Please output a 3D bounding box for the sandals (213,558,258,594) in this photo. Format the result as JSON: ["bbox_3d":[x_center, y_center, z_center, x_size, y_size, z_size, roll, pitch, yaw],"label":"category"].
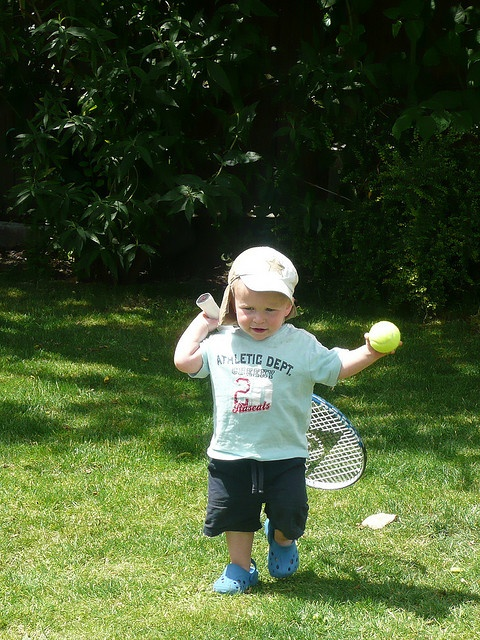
[{"bbox_3d":[-0.019,0.935,2.777,0.078,0.064,0.165,1,1,34],"label":"sandals"}]

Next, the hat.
[{"bbox_3d":[0.061,-0.138,2.758,0.256,0.286,0.301,5,-17,-4],"label":"hat"}]

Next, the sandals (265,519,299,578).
[{"bbox_3d":[0.150,0.891,2.937,0.110,0.221,0.094,-2,5,3],"label":"sandals"}]

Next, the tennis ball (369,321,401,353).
[{"bbox_3d":[0.493,0.064,2.635,0.108,0.113,0.161,3,6,8],"label":"tennis ball"}]

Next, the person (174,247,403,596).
[{"bbox_3d":[0.096,0.366,2.774,0.672,1.253,0.325,1,6,-6],"label":"person"}]
